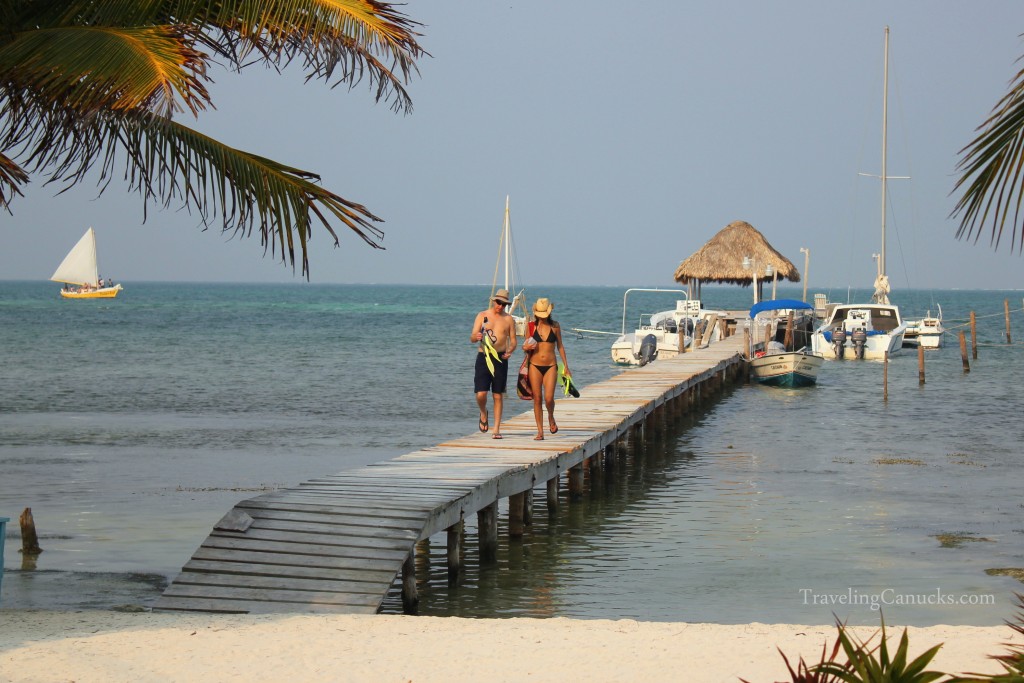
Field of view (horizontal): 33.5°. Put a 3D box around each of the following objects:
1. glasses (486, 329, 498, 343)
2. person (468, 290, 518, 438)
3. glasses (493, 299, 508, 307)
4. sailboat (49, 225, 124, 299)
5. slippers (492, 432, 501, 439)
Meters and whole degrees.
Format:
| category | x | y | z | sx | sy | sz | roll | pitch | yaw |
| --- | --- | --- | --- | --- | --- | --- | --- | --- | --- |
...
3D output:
| category | x | y | z | sx | sy | sz | roll | pitch | yaw |
| --- | --- | --- | --- | --- | --- | --- | --- | --- | --- |
| glasses | -0.310 | -0.086 | 25.596 | 0.189 | 0.046 | 0.135 | 42 | 13 | -1 |
| person | -0.203 | 0.289 | 26.027 | 0.822 | 2.339 | 0.849 | 2 | -2 | -16 |
| glasses | -0.221 | -0.598 | 25.643 | 0.127 | 0.033 | 0.124 | 16 | -6 | 27 |
| sailboat | -32.724 | -5.037 | 129.167 | 5.100 | 8.106 | 10.905 | 0 | -3 | -11 |
| slippers | -0.260 | 1.473 | 26.738 | 0.101 | 0.060 | 0.175 | 0 | -2 | -15 |
